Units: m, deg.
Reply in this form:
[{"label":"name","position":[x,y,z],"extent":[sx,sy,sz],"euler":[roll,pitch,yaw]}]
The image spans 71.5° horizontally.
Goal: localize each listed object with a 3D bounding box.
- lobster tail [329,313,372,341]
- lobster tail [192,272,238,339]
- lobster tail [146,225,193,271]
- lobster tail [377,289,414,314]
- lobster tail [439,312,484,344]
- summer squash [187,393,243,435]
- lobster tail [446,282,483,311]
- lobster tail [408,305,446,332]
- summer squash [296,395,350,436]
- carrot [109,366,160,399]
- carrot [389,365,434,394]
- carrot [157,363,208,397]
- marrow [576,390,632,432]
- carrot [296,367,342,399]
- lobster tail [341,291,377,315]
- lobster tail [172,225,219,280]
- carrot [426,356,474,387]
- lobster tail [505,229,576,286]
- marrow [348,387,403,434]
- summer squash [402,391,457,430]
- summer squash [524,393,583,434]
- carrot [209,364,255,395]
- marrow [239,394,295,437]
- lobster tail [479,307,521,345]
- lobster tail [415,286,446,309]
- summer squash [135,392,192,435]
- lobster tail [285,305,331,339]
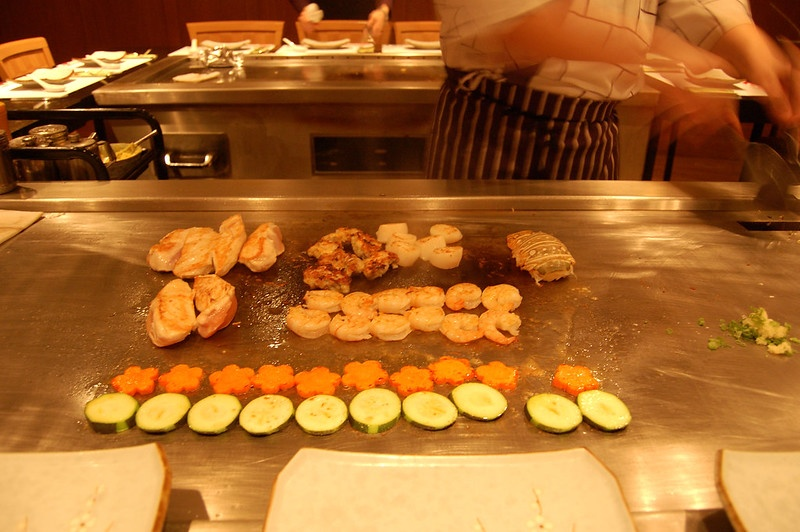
[{"label":"lobster tail","position":[-0.181,0.219,2.015],"extent":[0.150,0.052,0.109],"euler":[-5,38,-4]},{"label":"lobster tail","position":[-0.692,0.117,2.098],"extent":[0.176,0.098,0.308],"euler":[-20,43,-12]},{"label":"lobster tail","position":[-0.945,-0.069,2.292],"extent":[0.119,0.042,0.180],"euler":[20,43,1]},{"label":"lobster tail","position":[-0.029,0.133,2.119],"extent":[0.101,0.029,0.093],"euler":[-3,34,2]},{"label":"lobster tail","position":[0.231,0.224,2.018],"extent":[0.117,0.026,0.108],"euler":[15,36,17]},{"label":"summer squash","position":[-0.592,0.452,1.753],"extent":[0.164,0.143,0.037],"euler":[22,11,-40]},{"label":"lobster tail","position":[0.237,0.123,2.156],"extent":[0.141,0.062,0.104],"euler":[-21,42,-23]},{"label":"lobster tail","position":[0.089,0.196,2.040],"extent":[0.105,0.027,0.095],"euler":[-10,32,-14]},{"label":"summer squash","position":[-0.246,0.464,1.760],"extent":[0.165,0.025,0.151],"euler":[1,35,3]},{"label":"carrot","position":[-0.879,0.382,1.830],"extent":[0.100,0.022,0.097],"euler":[-23,44,-28]},{"label":"carrot","position":[0.043,0.363,1.839],"extent":[0.096,0.017,0.087],"euler":[-2,33,-4]},{"label":"carrot","position":[-0.730,0.377,1.846],"extent":[0.095,0.021,0.097],"euler":[-22,42,-27]},{"label":"marrow","position":[0.645,0.455,1.767],"extent":[0.139,0.031,0.159],"euler":[-20,41,-22]},{"label":"carrot","position":[-0.278,0.384,1.844],"extent":[0.106,0.022,0.091],"euler":[0,34,-4]},{"label":"lobster tail","position":[-0.152,0.144,2.120],"extent":[0.138,0.040,0.127],"euler":[11,40,16]},{"label":"lobster tail","position":[-0.838,-0.056,2.278],"extent":[0.127,0.059,0.217],"euler":[4,47,-2]},{"label":"carrot","position":[0.174,0.351,1.883],"extent":[0.104,0.022,0.097],"euler":[8,32,14]},{"label":"lobster tail","position":[0.611,-0.022,2.303],"extent":[0.231,0.113,0.331],"euler":[-11,14,2]},{"label":"marrow","position":[-0.079,0.453,1.762],"extent":[0.166,0.036,0.151],"euler":[-15,40,-17]},{"label":"summer squash","position":[0.091,0.456,1.764],"extent":[0.172,0.032,0.128],"euler":[12,40,18]},{"label":"summer squash","position":[0.484,0.463,1.754],"extent":[0.117,0.027,0.120],"euler":[13,30,17]},{"label":"carrot","position":[-0.561,0.372,1.837],"extent":[0.098,0.019,0.095],"euler":[-14,41,-21]},{"label":"marrow","position":[-0.406,0.454,1.761],"extent":[0.148,0.033,0.123],"euler":[-11,61,18]},{"label":"lobster tail","position":[0.360,0.220,2.015],"extent":[0.149,0.061,0.129],"euler":[6,39,10]},{"label":"lobster tail","position":[0.108,0.116,2.134],"extent":[0.087,0.022,0.086],"euler":[17,34,31]},{"label":"summer squash","position":[-0.742,0.458,1.744],"extent":[0.156,0.033,0.134],"euler":[-25,43,-27]},{"label":"lobster tail","position":[-0.330,0.196,2.004],"extent":[0.130,0.041,0.115],"euler":[19,35,12]}]
